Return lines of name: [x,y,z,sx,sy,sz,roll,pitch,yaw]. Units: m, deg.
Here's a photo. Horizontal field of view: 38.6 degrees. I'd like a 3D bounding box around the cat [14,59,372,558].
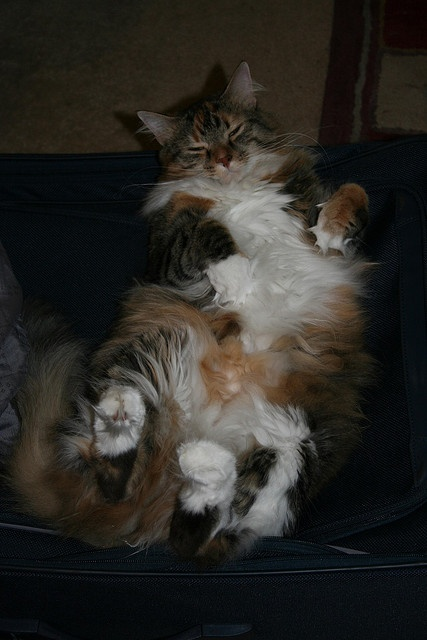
cat: [-0.007,0.080,1.504,0.951,0.355,1.133,2,79,10]
